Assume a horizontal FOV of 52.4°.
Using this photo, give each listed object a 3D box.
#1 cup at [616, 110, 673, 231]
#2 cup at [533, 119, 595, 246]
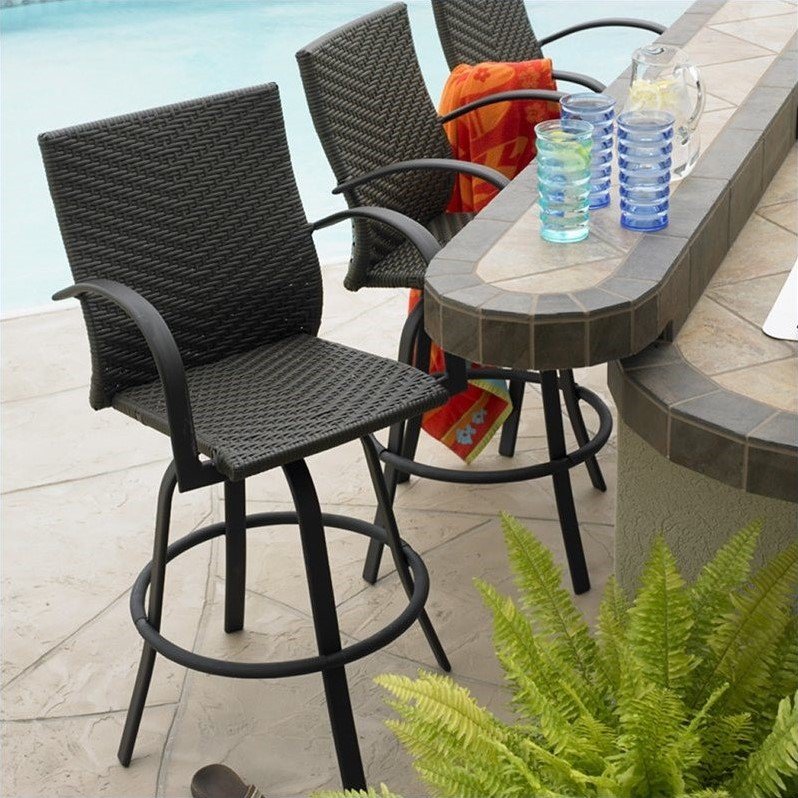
[{"bbox_3d":[0.441,-0.406,1.451,0.102,0.188,0.169,4,39,15],"label":"cup"},{"bbox_3d":[0.300,-0.392,1.457,0.098,0.193,0.179,1,39,12],"label":"cup"}]
